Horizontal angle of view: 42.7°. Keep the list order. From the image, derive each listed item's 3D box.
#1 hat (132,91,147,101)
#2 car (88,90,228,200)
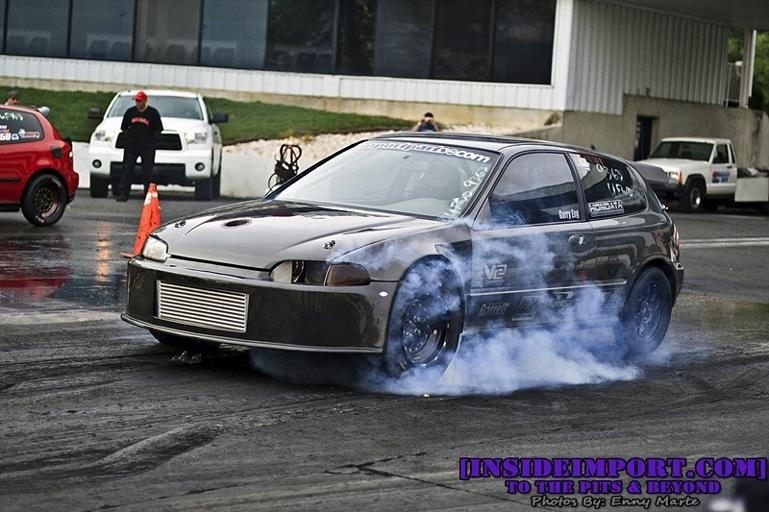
[{"bbox_3d":[-4.955,-3.213,20.077,0.191,0.197,0.298,17,8,14],"label":"hat"},{"bbox_3d":[-4.858,-2.545,22.356,1.948,1.562,3.225,1,1,2],"label":"car"}]
